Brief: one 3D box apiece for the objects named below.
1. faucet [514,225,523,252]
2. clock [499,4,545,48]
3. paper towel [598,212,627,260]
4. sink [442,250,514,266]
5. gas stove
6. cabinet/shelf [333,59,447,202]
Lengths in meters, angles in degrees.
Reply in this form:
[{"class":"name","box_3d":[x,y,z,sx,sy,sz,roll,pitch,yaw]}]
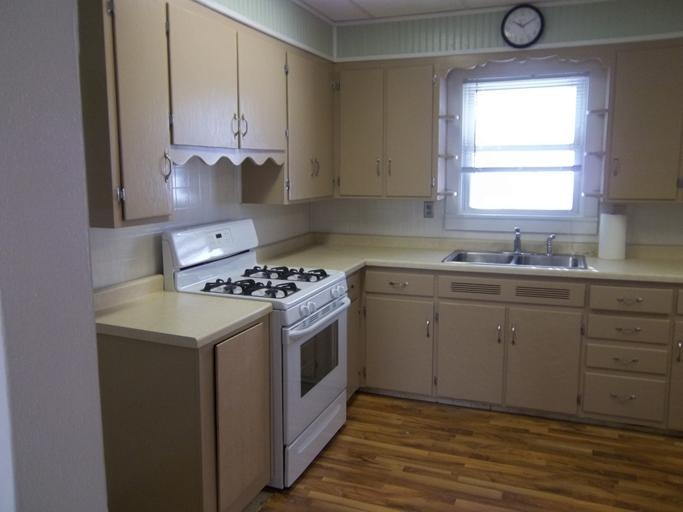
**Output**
[{"class":"faucet","box_3d":[1.155,-0.106,3.554,0.052,0.165,0.147,3,10,16]},{"class":"clock","box_3d":[1.085,-1.370,3.228,0.244,0.271,0.035,2,5,28]},{"class":"paper towel","box_3d":[1.654,-0.125,3.310,0.158,0.275,0.166,4,11,26]},{"class":"sink","box_3d":[0.916,0.010,3.556,0.242,0.092,0.208,3,8,18]},{"class":"gas stove","box_3d":[-0.327,0.217,2.684,0.548,0.254,0.768,4,8,23]},{"class":"cabinet/shelf","box_3d":[0.331,-0.856,3.558,0.825,1.135,0.425,2,6,17]}]
